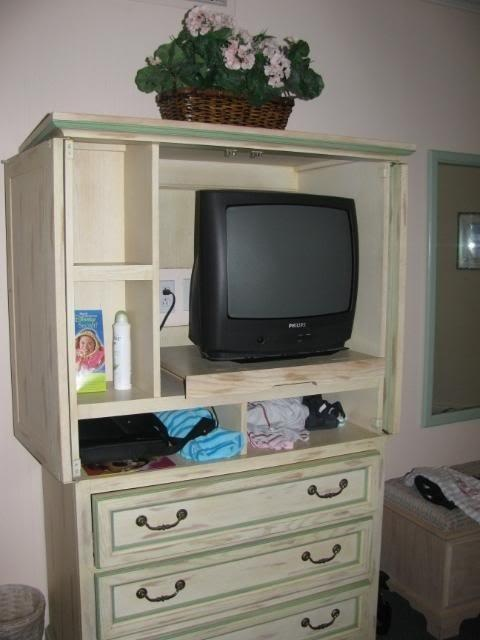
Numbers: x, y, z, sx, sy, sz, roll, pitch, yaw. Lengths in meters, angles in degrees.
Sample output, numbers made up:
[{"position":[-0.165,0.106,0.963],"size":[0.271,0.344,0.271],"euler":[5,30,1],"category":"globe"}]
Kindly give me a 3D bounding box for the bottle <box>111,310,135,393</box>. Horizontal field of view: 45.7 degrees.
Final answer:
[{"position":[-0.296,0.077,1.420],"size":[0.049,0.193,0.085],"euler":[-2,9,6],"category":"bottle"}]

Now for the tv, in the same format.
[{"position":[0.076,-0.133,1.635],"size":[0.488,0.438,0.276],"euler":[-4,8,-29],"category":"tv"}]

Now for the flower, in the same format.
[{"position":[0.007,-0.631,1.389],"size":[0.325,0.112,0.354],"euler":[-24,49,-28],"category":"flower"}]

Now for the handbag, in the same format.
[{"position":[-0.293,0.296,1.437],"size":[0.215,0.065,0.255],"euler":[-5,10,-15],"category":"handbag"}]

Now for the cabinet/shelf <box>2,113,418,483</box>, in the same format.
[{"position":[-0.094,-0.049,1.486],"size":[1.085,1.035,0.465],"euler":[-4,7,-28],"category":"cabinet/shelf"}]
